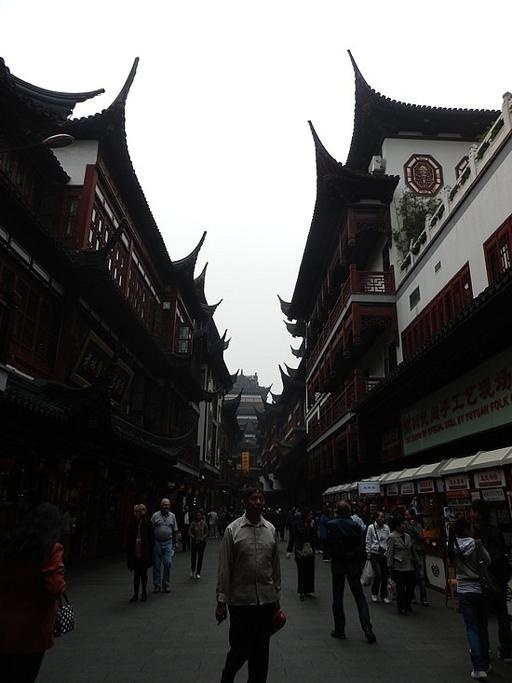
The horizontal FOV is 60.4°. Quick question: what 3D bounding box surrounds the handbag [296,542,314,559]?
[{"bbox_3d":[0.935,3.847,8.211,0.239,0.338,0.266,-8,-19,35],"label":"handbag"}]
